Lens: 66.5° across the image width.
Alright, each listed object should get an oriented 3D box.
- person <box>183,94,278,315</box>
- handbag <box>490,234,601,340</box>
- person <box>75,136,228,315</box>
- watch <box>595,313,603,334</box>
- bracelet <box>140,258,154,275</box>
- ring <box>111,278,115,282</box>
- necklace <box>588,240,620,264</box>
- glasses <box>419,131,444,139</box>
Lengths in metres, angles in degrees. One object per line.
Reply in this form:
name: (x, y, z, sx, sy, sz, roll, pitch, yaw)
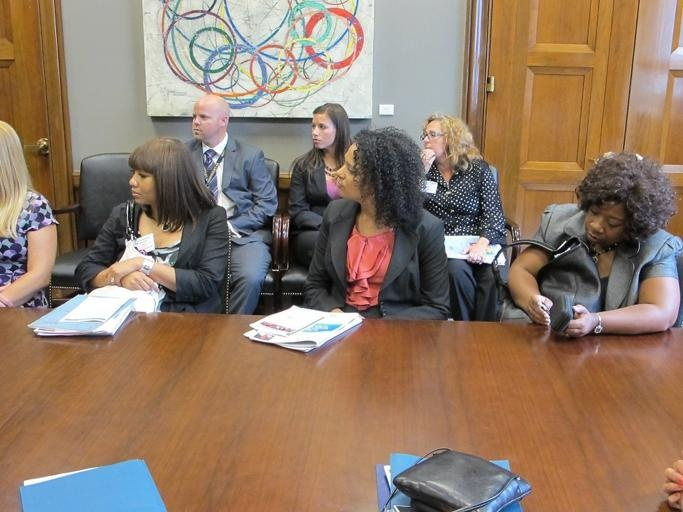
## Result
person: (-0.770, -0.174, 3.370, 0.556, 1.581, 0.848, -3, 26, -8)
handbag: (0.758, 0.108, 1.820, 0.335, 0.393, 0.258, -4, 12, -14)
person: (-0.872, -0.064, 2.410, 0.589, 0.926, 0.464, 4, 1, -4)
watch: (0.814, 0.220, 1.643, 0.025, 0.051, 0.036, -4, -8, 43)
bracelet: (-0.838, 0.045, 2.236, 0.043, 0.070, 0.025, 10, -18, -7)
ring: (-0.988, 0.107, 2.241, 0.012, 0.021, 0.006, 1, 2, 15)
necklace: (0.955, -0.016, 1.907, 0.057, 0.092, 0.042, 3, 52, 6)
glasses: (0.554, -0.737, 3.180, 0.068, 0.023, 0.066, 7, -5, -40)
